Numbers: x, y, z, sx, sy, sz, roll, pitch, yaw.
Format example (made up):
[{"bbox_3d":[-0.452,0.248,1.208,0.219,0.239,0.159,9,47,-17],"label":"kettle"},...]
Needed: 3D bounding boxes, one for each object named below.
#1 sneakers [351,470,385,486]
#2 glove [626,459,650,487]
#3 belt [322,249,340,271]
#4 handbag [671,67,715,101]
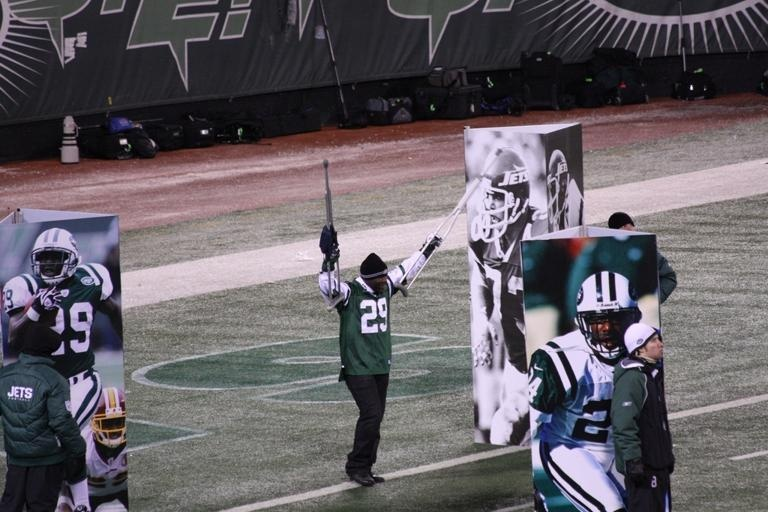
[{"bbox_3d":[-0.307,4.080,33.001,0.497,0.170,0.277,2,6,19],"label":"sneakers"},{"bbox_3d":[4.321,3.706,30.782,0.371,0.410,0.235,-4,19,8],"label":"glove"},{"bbox_3d":[-0.970,0.055,33.128,0.295,0.430,0.372,11,19,30],"label":"belt"},{"bbox_3d":[10.275,-5.773,59.644,1.313,0.776,1.151,-1,4,-5],"label":"handbag"}]
